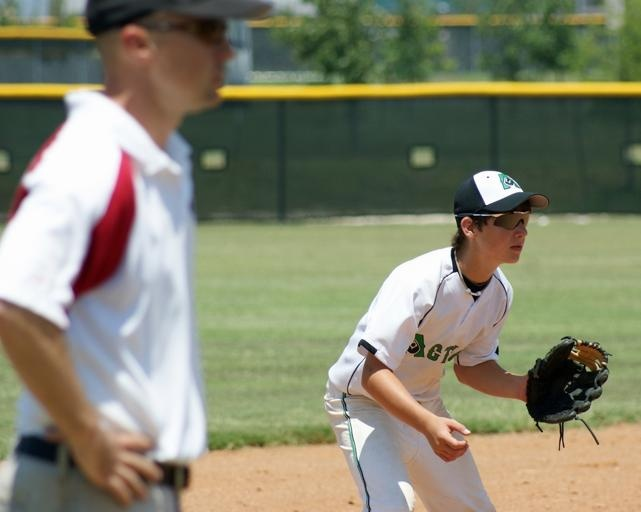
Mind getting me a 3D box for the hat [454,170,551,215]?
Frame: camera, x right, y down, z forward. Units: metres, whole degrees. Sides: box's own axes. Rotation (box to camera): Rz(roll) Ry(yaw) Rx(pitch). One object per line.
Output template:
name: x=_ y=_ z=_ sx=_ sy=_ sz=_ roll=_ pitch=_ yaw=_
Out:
hat: x=1.041 y=-0.359 z=8.437 sx=0.570 sy=0.302 sz=0.411 roll=-5 pitch=-1 yaw=41
